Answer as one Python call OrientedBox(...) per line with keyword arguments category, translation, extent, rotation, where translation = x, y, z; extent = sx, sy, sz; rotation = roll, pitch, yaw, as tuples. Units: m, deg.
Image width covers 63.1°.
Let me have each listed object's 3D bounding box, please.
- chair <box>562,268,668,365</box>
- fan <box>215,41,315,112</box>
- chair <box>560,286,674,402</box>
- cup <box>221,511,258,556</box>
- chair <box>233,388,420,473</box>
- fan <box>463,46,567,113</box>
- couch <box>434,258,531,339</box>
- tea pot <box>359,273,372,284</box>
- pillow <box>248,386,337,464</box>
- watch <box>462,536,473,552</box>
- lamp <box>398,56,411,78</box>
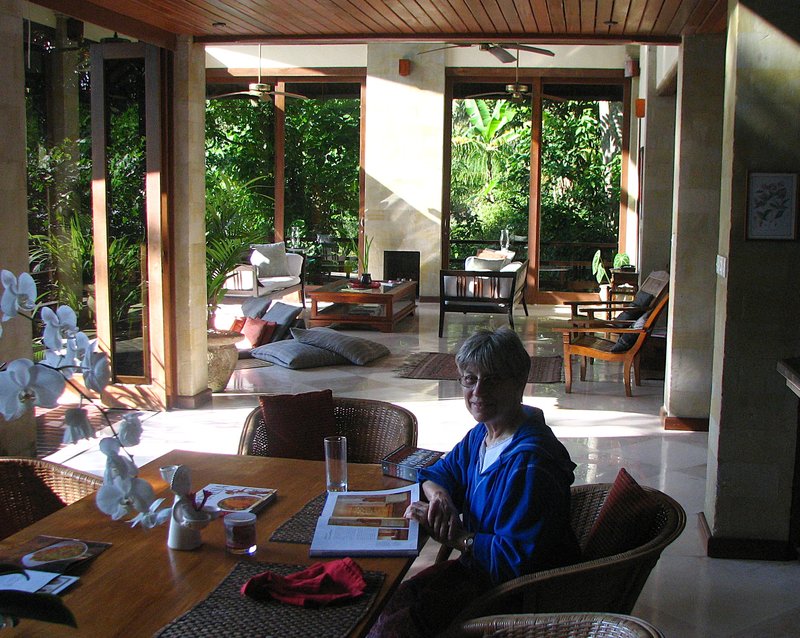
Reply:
OrientedBox(category="chair", translation=(2.150, 0.075, 6.627), extent=(1.109, 1.106, 0.907), rotation=(6, 23, 25))
OrientedBox(category="fan", translation=(-2.461, -4.439, 11.558), extent=(1.561, 1.106, 1.253), rotation=(0, 16, -3))
OrientedBox(category="chair", translation=(2.157, 0.194, 6.803), extent=(1.257, 1.251, 1.000), rotation=(3, 8, 16))
OrientedBox(category="cup", translation=(-0.429, 0.578, 1.784), extent=(0.099, 0.088, 0.095), rotation=(-3, -5, 0))
OrientedBox(category="chair", translation=(-0.354, 0.515, 3.006), extent=(0.587, 0.274, 0.676), rotation=(2, -7, 2))
OrientedBox(category="fan", translation=(1.710, -3.619, 9.564), extent=(1.149, 0.858, 1.303), rotation=(-3, 11, 13))
OrientedBox(category="couch", translation=(1.256, -0.243, 9.832), extent=(1.116, 0.843, 1.434), rotation=(0, 1, 7))
OrientedBox(category="tea pot", translation=(-0.544, -0.611, 9.962), extent=(0.202, 0.179, 0.151), rotation=(1, 7, 10))
OrientedBox(category="pillow", translation=(-0.470, 0.478, 2.905), extent=(0.332, 0.306, 0.128), rotation=(-4, -5, -24))
OrientedBox(category="watch", translation=(0.198, 0.652, 1.908), extent=(0.031, 0.036, 0.033), rotation=(-13, 42, -15))
OrientedBox(category="lamp", translation=(0.108, -4.468, 11.647), extent=(0.253, 0.302, 0.096), rotation=(0, 10, -3))
